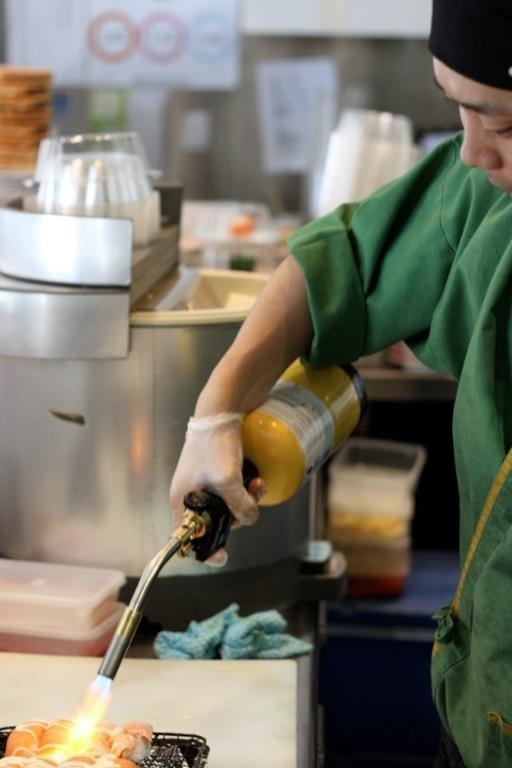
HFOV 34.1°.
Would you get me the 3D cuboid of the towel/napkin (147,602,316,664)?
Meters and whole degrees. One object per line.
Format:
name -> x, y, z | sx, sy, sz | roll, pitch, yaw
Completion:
towel/napkin -> -0.034, 0.278, 0.966 | 0.127, 0.040, 0.085 | 0, -7, 0
